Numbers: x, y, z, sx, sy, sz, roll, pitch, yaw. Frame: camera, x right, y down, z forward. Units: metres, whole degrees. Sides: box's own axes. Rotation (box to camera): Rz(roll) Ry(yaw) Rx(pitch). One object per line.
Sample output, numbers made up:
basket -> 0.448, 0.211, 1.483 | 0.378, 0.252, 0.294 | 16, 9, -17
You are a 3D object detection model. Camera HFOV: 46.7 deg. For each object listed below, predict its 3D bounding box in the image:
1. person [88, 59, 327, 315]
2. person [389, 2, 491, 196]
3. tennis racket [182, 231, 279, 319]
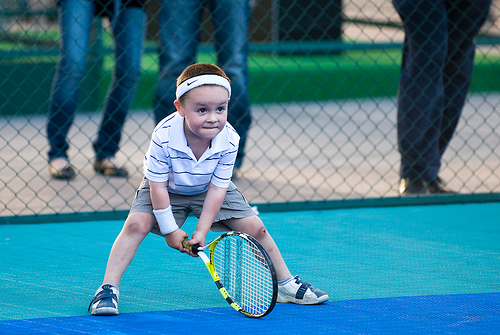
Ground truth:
person -> -0.225, 0.097, 2.761 | 1.138, 1.127, 0.654 | 0, 6, -17
person -> 1.202, -0.455, 3.836 | 0.594, 1.277, 0.291 | 1, 7, -20
tennis racket -> -0.123, 0.467, 2.600 | 0.046, 0.210, 0.660 | -11, 23, -40
